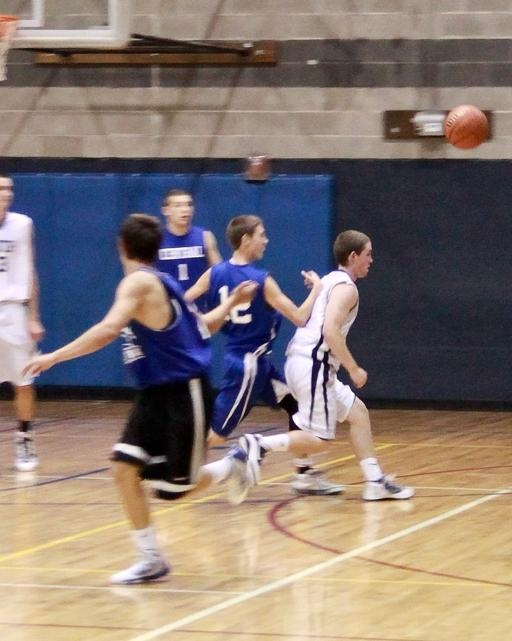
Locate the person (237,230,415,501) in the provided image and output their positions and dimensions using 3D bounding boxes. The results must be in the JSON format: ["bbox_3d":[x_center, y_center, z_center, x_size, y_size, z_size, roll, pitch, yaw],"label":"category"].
[{"bbox_3d":[0.347,0.204,4.081,0.676,1.074,1.006,-1,0,9],"label":"person"}]

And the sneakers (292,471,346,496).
[{"bbox_3d":[0.312,0.806,4.463,0.288,0.113,0.095,1,6,0],"label":"sneakers"}]

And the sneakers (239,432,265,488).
[{"bbox_3d":[-0.011,0.550,3.607,0.081,0.092,0.215,2,41,-2],"label":"sneakers"}]

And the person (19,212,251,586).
[{"bbox_3d":[-0.376,0.245,2.909,0.470,0.909,0.764,-1,0,4],"label":"person"}]

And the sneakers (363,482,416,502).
[{"bbox_3d":[0.620,0.801,4.226,0.269,0.099,0.090,0,-1,-10],"label":"sneakers"}]

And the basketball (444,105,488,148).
[{"bbox_3d":[1.662,-1.528,7.118,0.331,0.320,0.231,-1,0,10],"label":"basketball"}]
